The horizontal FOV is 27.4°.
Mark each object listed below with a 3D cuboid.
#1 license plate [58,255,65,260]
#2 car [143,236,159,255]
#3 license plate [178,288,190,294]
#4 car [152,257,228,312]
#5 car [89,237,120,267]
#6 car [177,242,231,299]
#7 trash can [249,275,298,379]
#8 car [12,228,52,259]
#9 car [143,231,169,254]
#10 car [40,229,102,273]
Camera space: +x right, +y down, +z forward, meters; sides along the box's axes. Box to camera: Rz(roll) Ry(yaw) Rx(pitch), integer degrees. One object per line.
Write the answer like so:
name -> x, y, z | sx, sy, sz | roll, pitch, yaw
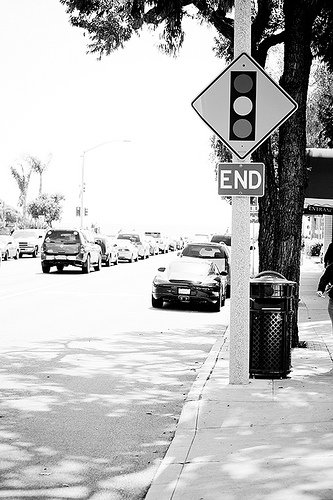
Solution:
license plate -> -4.429, 0.295, 28.685 | 0.174, 0.194, 0.049 | 2, 1, 5
car -> -1.314, -0.331, 54.073 | 1.219, 1.106, 2.997 | 0, -5, 1
license plate -> 0.414, 0.965, 16.160 | 0.203, 0.125, 0.054 | 2, -2, 9
car -> 0.607, 0.844, 17.005 | 1.609, 1.275, 1.963 | 3, 0, 27
car -> -3.260, 0.125, 35.390 | 1.311, 1.292, 3.211 | 2, 3, 12
car -> 1.004, 0.555, 18.017 | 1.226, 1.166, 3.178 | 1, -4, 10
trash can -> 1.152, 0.826, 7.704 | 0.543, 1.181, 0.576 | 1, -4, 4
car -> -8.574, -0.414, 42.999 | 1.717, 1.625, 3.596 | 0, -2, 4
car -> -0.809, -0.794, 63.831 | 1.430, 1.554, 2.829 | 0, -4, 4
car -> -4.054, -0.078, 29.871 | 1.280, 1.316, 2.871 | 1, 3, 7
